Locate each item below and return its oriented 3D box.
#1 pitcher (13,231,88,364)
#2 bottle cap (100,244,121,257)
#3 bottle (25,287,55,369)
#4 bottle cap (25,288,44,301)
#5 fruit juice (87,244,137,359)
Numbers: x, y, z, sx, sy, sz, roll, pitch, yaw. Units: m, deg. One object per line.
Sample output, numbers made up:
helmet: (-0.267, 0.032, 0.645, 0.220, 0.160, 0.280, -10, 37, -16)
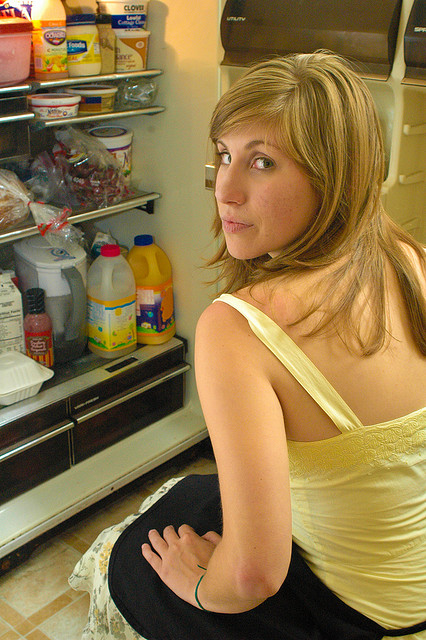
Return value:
pitcher: (-0.486, -0.100, 1.667, 0.214, 0.507, 0.171, -20, 32, -41)
bottle cap: (-0.324, -0.224, 1.631, 0.043, 0.017, 0.043, 7, 27, 13)
bottle: (-0.522, 0.031, 1.536, 0.071, 0.247, 0.038, -6, 22, -19)
bottle cap: (-0.517, -0.075, 1.492, 0.038, 0.027, 0.038, -5, 14, -18)
fruit juice: (-0.334, -0.068, 1.749, 0.163, 0.357, 0.170, -17, 29, -40)
